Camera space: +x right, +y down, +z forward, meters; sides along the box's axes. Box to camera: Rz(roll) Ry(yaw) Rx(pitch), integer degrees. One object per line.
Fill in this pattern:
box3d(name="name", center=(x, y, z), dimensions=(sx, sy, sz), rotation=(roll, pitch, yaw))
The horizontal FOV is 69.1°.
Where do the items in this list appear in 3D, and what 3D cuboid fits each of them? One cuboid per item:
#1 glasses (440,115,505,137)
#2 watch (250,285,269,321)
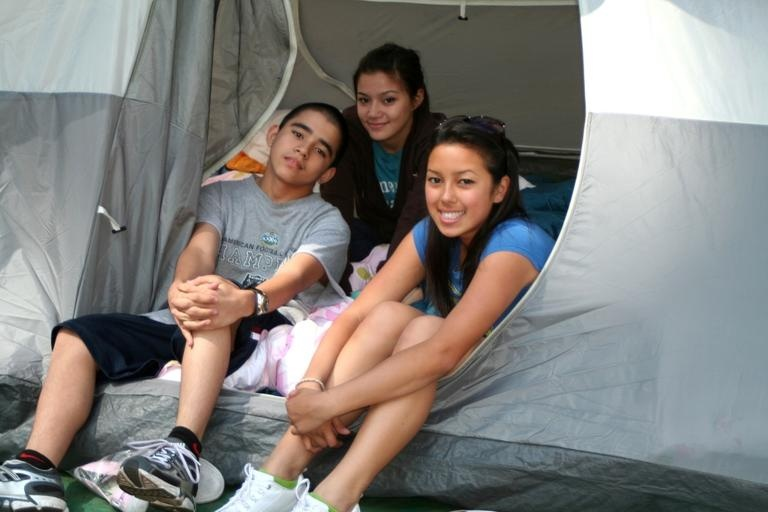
box3d(name="glasses", center=(0.287, -0.404, 1.707), dimensions=(0.098, 0.034, 0.110), rotation=(7, -3, -2))
box3d(name="watch", center=(-0.391, 0.147, 1.727), dimensions=(0.055, 0.091, 0.080), rotation=(-5, 4, -40))
